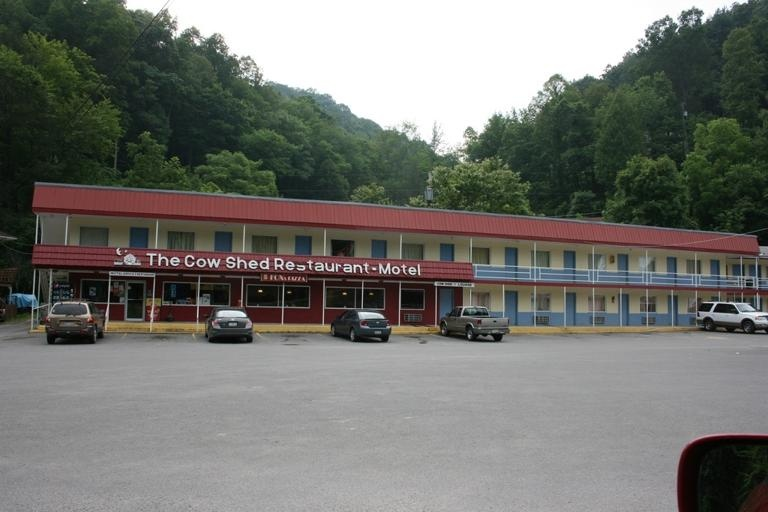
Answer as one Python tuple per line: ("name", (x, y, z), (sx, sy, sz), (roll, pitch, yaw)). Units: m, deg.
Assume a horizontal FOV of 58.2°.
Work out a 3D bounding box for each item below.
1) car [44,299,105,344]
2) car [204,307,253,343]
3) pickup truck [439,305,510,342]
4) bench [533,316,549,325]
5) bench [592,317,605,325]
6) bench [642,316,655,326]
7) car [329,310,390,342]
("car", (-16.143, 3.440, 35.709), (2.361, 2.329, 2.421), (-2, 10, -12))
("car", (-8.509, 3.882, 37.519), (2.072, 1.838, 2.327), (-7, 11, -35))
("pickup truck", (5.562, 4.408, 43.436), (2.118, 2.313, 4.681), (-4, 10, -23))
("bench", (12.141, 4.944, 52.913), (1.406, 0.677, 0.926), (2, -10, -4))
("bench", (16.944, 5.109, 54.484), (1.178, 0.563, 0.739), (-1, -3, 1))
("bench", (21.460, 5.122, 56.041), (0.764, 0.845, 1.519), (8, 12, 42))
("car", (-1.476, 4.136, 40.724), (1.906, 1.885, 3.777), (-6, 11, -32))
